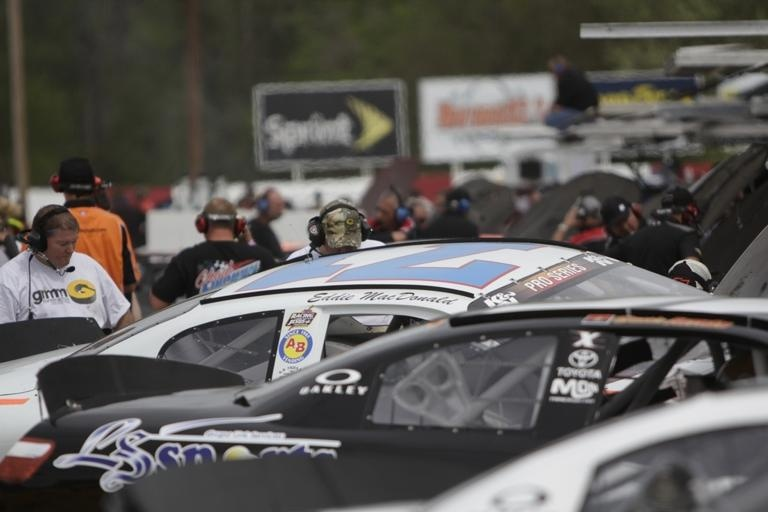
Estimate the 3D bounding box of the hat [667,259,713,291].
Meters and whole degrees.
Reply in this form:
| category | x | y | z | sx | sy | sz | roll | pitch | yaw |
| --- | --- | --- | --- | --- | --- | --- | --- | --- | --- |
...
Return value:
| category | x | y | z | sx | sy | sz | roll | pitch | yaw |
| --- | --- | --- | --- | --- | --- | --- | --- | --- | --- |
| hat | 2.574 | 0.170 | 14.205 | 0.340 | 0.235 | 0.308 | -3 | -20 | 18 |

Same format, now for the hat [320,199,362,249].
| category | x | y | z | sx | sy | sz | roll | pitch | yaw |
| --- | --- | --- | --- | --- | --- | --- | --- | --- | --- |
| hat | -0.366 | -0.255 | 13.834 | 0.368 | 0.384 | 0.377 | 0 | 56 | -11 |

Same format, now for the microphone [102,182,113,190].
| category | x | y | z | sx | sy | sz | roll | pitch | yaw |
| --- | --- | --- | --- | --- | --- | --- | --- | --- | --- |
| microphone | -2.432 | -0.602 | 14.772 | 0.077 | 0.017 | 0.069 | 0 | 21 | 7 |

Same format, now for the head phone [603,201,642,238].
| category | x | y | z | sx | sy | sz | roll | pitch | yaw |
| --- | --- | --- | --- | --- | --- | --- | --- | --- | --- |
| head phone | 2.238 | -0.357 | 16.073 | 0.264 | 0.248 | 0.426 | -43 | 2 | 11 |
